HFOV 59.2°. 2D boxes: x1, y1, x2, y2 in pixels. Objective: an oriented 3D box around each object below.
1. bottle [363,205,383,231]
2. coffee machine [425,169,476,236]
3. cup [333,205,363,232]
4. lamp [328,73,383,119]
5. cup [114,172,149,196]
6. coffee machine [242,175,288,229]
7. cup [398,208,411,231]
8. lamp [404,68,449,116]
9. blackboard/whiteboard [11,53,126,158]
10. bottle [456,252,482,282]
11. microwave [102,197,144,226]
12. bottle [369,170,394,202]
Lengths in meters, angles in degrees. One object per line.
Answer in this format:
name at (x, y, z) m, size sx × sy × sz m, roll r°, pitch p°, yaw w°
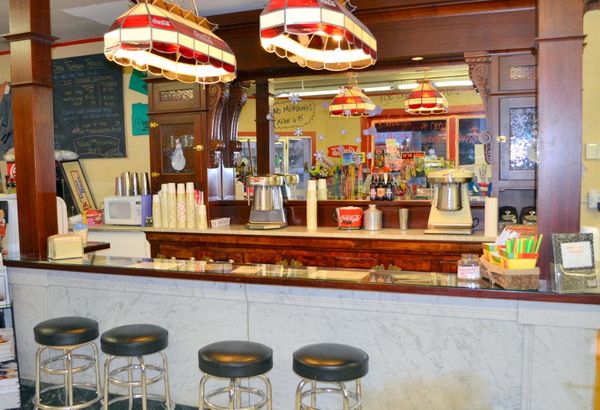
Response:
bottle at (0.811, 0.138, 5.891) m, size 0.193 × 0.275 × 0.254 m, roll -2°, pitch 5°, yaw 2°
coffee machine at (1.586, -0.054, 5.550) m, size 0.564 × 0.652 × 0.619 m, roll 0°, pitch 4°, yaw 8°
cup at (0.574, 0.145, 5.976) m, size 0.305 × 0.247 × 0.295 m, roll -3°, pitch 5°, yaw 0°
lamp at (0.795, -1.503, 7.356) m, size 0.622 × 0.616 × 0.604 m, roll 2°, pitch 8°, yaw 14°
cup at (-2.140, -0.278, 6.856) m, size 0.575 × 0.309 × 0.307 m, roll 1°, pitch 6°, yaw 34°
coffee machine at (-0.390, -0.050, 6.195) m, size 0.461 × 0.616 × 0.486 m, roll -3°, pitch 5°, yaw -2°
cup at (1.175, 0.151, 5.928) m, size 0.127 × 0.241 × 0.265 m, roll -2°, pitch 5°, yaw 11°
lamp at (1.782, -1.586, 7.562) m, size 0.615 × 0.496 × 0.610 m, roll 0°, pitch 0°, yaw 36°
blackboard/whiteboard at (-2.810, -1.268, 6.621) m, size 1.946 × 1.848 × 0.103 m, roll 0°, pitch 2°, yaw 19°
bottle at (1.231, 0.457, 3.874) m, size 0.198 × 0.203 × 0.189 m, roll 2°, pitch -2°, yaw -22°
microwave at (-2.165, 0.077, 6.919) m, size 0.655 × 0.369 × 0.371 m, roll 0°, pitch 3°, yaw 21°
bottle at (0.976, -0.226, 6.245) m, size 0.303 × 0.326 × 0.283 m, roll -2°, pitch 5°, yaw 9°
